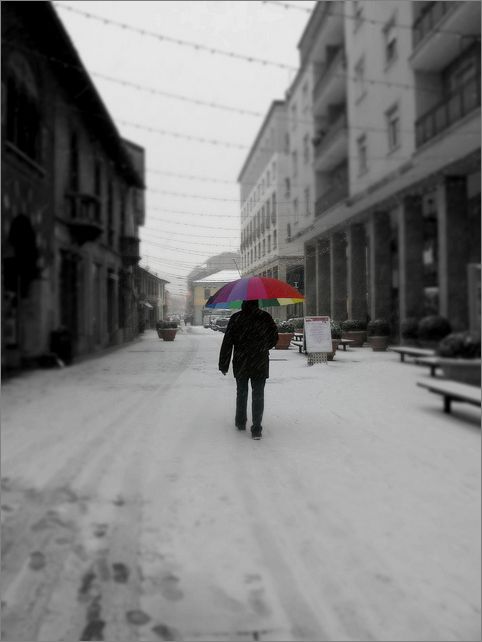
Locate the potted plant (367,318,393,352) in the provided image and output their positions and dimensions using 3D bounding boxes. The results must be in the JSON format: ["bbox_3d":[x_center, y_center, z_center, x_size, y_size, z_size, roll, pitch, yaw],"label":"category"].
[{"bbox_3d":[4.726,0.504,16.598,0.707,1.062,0.531,0,-1,15],"label":"potted plant"}]

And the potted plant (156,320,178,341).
[{"bbox_3d":[-3.818,0.466,25.353,0.881,1.062,1.021,0,-3,-5],"label":"potted plant"}]

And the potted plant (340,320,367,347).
[{"bbox_3d":[4.340,0.399,18.945,0.962,1.178,0.976,0,-2,-41],"label":"potted plant"}]

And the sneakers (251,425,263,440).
[{"bbox_3d":[0.167,1.138,4.997,0.069,0.144,0.135,2,-26,1],"label":"sneakers"}]

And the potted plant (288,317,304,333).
[{"bbox_3d":[2.547,0.119,22.413,0.637,0.862,0.772,0,-3,-8],"label":"potted plant"}]

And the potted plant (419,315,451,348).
[{"bbox_3d":[0.585,0.030,1.481,0.055,0.093,0.187,0,-1,5],"label":"potted plant"}]

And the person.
[{"bbox_3d":[0.084,0.496,5.277,0.648,1.447,0.417,0,-1,31],"label":"person"}]
